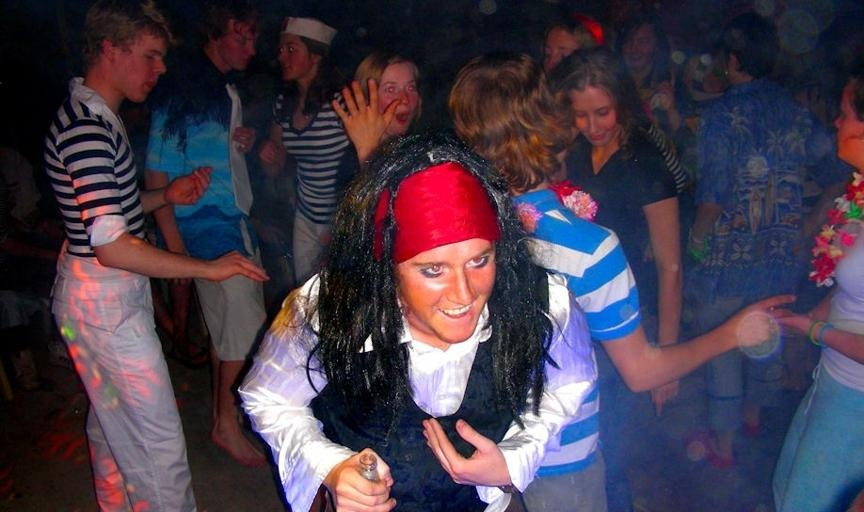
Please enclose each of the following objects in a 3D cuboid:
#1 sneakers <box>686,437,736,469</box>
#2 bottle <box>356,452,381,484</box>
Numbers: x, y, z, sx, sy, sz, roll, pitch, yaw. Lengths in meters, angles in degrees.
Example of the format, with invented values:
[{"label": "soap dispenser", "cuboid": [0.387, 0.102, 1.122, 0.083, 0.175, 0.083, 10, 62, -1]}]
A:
[{"label": "sneakers", "cuboid": [2.592, 1.811, 6.317, 0.406, 0.259, 0.256, -2, -7, 21]}, {"label": "bottle", "cuboid": [-0.381, 1.311, 4.219, 0.154, 0.216, 0.151, -8, -6, -1]}]
